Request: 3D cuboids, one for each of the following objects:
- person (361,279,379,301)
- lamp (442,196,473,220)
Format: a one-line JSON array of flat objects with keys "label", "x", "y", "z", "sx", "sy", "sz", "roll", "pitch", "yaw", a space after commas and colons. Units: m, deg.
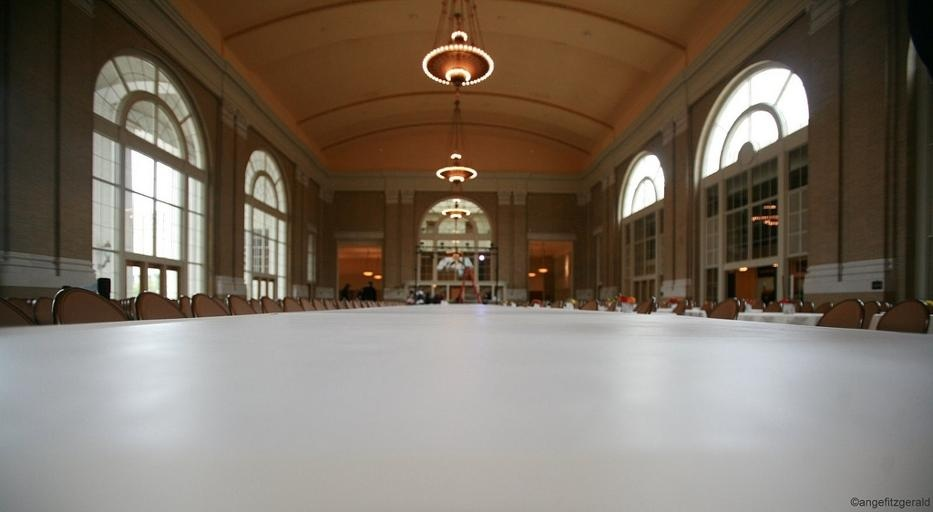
[{"label": "person", "x": -3.933, "y": 1.342, "z": 22.928, "sx": 0.706, "sy": 0.784, "sz": 0.441, "roll": 5, "pitch": 7, "yaw": -36}, {"label": "lamp", "x": -0.400, "y": -1.608, "z": 19.824, "sx": 0.849, "sy": 0.715, "sz": 0.868, "roll": 0, "pitch": -9, "yaw": 5}]
